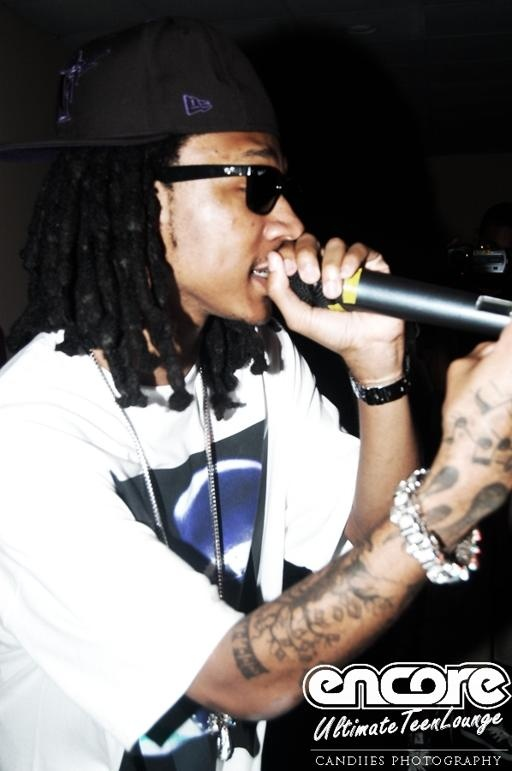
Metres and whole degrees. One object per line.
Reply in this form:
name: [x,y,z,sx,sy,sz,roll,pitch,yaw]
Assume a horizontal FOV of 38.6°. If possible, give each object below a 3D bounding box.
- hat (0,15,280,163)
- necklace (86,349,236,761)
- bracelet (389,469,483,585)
hat: [-0.258,-0.673,1.713,0.551,0.245,0.338,-2,10,-9]
necklace: [-0.139,0.381,1.831,0.322,0.962,0.074,3,-7,-27]
bracelet: [0.289,0.267,1.417,0.080,0.204,0.235,-46,44,34]
